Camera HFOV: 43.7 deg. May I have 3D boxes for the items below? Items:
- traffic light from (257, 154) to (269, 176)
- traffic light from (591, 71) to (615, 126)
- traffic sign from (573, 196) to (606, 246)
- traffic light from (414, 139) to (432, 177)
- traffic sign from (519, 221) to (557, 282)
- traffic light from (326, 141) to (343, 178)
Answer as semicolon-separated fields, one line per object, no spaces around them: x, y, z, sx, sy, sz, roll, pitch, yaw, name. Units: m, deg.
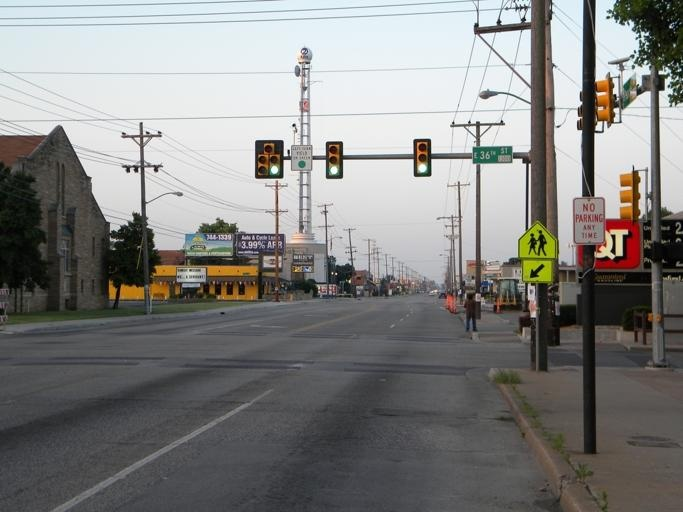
-2.788;-3.206;30.352;0.472;0.800;0.323;0;-3;-7;traffic light
5.838;-3.532;18.876;0.393;1.089;0.711;-2;-3;18;traffic light
4.266;-0.598;14.719;0.545;0.849;0.333;-1;-3;10;traffic sign
2.804;-3.383;29.458;0.590;1.350;0.584;-1;-3;3;traffic light
5.223;-0.110;22.737;0.946;1.707;0.914;-1;-3;13;traffic sign
-0.238;-3.405;30.356;0.621;1.272;0.389;0;-3;-13;traffic light
